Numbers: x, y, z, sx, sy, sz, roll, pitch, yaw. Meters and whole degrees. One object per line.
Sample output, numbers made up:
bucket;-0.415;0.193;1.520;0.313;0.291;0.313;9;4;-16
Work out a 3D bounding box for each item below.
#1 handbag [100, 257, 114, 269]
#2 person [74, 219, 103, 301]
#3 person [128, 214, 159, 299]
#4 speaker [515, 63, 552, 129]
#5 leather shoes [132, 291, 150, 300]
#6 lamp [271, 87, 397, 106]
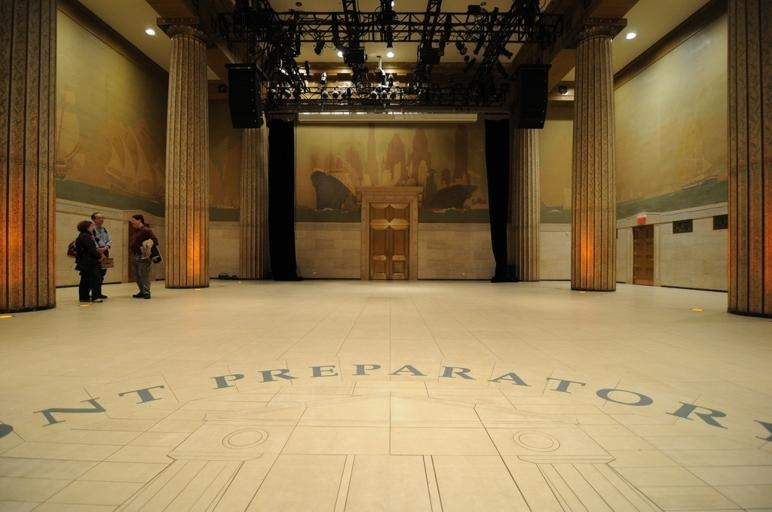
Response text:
handbag;-5.786;0.142;10.594;0.221;0.267;0.391;-2;0;14
person;-5.927;0.098;10.241;0.482;1.598;0.677;-7;13;-30
person;-5.256;0.020;11.167;0.566;1.866;1.245;-6;12;-26
speaker;3.901;-4.309;13.807;0.766;1.618;0.688;1;11;7
leather shoes;-5.177;0.836;10.933;0.453;0.167;0.147;4;-1;5
lamp;-1.748;-5.614;17.922;4.290;0.626;1.952;3;11;13
